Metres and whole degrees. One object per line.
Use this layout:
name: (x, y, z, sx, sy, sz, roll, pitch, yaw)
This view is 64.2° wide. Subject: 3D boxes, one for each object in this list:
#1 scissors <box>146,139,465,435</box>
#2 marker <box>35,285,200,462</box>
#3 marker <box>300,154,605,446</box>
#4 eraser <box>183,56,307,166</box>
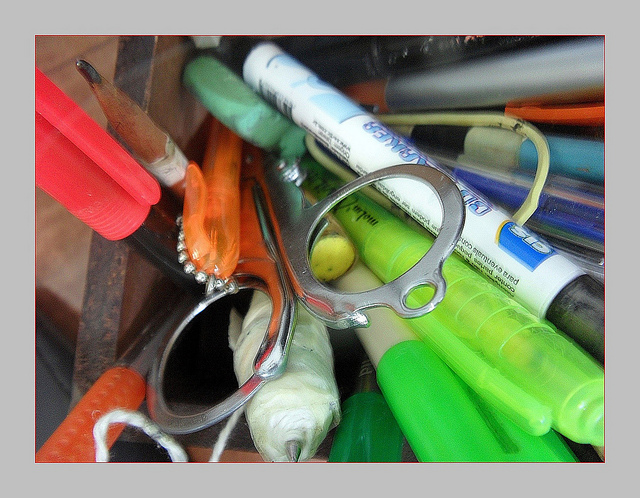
scissors: (0.008, 0.002, 0.313, 0.161, 0.042, 0.165, -27, 49, 10)
marker: (-0.125, 0.077, 0.306, 0.017, 0.017, 0.122, -2, 44, 43)
marker: (0.058, 0.011, 0.384, 0.075, 0.049, 0.292, -33, 61, -21)
eraser: (-0.062, -0.090, 0.410, 0.052, 0.095, 0.025, -53, 12, -23)
